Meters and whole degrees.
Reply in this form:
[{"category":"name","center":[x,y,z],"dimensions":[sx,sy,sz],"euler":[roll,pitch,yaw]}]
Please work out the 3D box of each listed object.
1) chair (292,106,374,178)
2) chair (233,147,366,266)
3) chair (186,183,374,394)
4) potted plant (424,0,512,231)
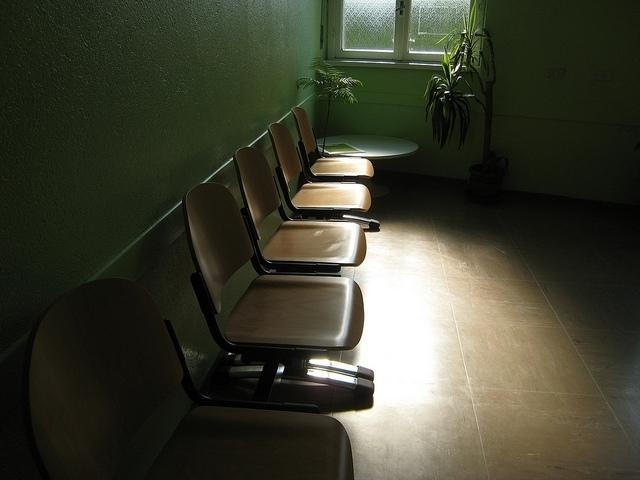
[{"category":"chair","center":[0.111,-0.727,3.630],"dimensions":[0.653,0.604,0.549],"euler":[2,31,4]},{"category":"chair","center":[0.049,-0.397,3.079],"dimensions":[0.633,0.778,0.538],"euler":[-4,21,7]},{"category":"chair","center":[-0.114,0.140,2.120],"dimensions":[0.717,0.905,0.695],"euler":[2,26,6]},{"category":"potted plant","center":[1.489,-1.404,4.566],"dimensions":[0.875,1.812,0.910],"euler":[6,22,11]}]
